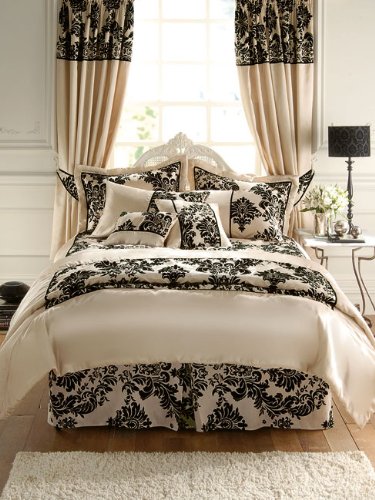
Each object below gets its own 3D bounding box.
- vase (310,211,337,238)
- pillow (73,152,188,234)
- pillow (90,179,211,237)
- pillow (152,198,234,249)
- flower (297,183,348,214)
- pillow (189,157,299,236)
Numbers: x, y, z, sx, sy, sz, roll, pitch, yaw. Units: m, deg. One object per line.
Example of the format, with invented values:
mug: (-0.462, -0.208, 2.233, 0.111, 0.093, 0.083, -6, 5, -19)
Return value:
vase: (1.132, -0.204, 3.486, 0.214, 0.220, 0.206, 0, 6, 3)
pillow: (-0.428, -0.417, 3.191, 0.840, 0.593, 0.117, -4, -26, -1)
pillow: (-0.475, -0.294, 3.091, 0.422, 0.375, 0.123, 0, -18, 29)
pillow: (0.008, -0.168, 2.832, 0.397, 0.352, 0.112, 0, -38, -11)
flower: (1.093, -0.393, 3.409, 0.296, 0.227, 0.288, 3, 7, 26)
pillow: (0.415, -0.398, 3.235, 0.791, 0.512, 0.089, 5, -19, 5)
